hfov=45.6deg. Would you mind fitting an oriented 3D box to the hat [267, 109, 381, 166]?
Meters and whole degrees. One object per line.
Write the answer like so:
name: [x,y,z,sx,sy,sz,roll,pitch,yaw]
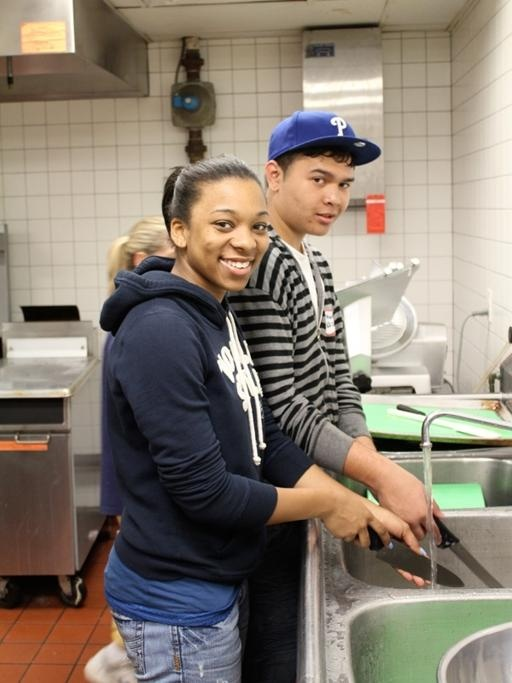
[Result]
hat: [0.108,-0.349,1.107,0.154,0.063,0.111,4,7,30]
